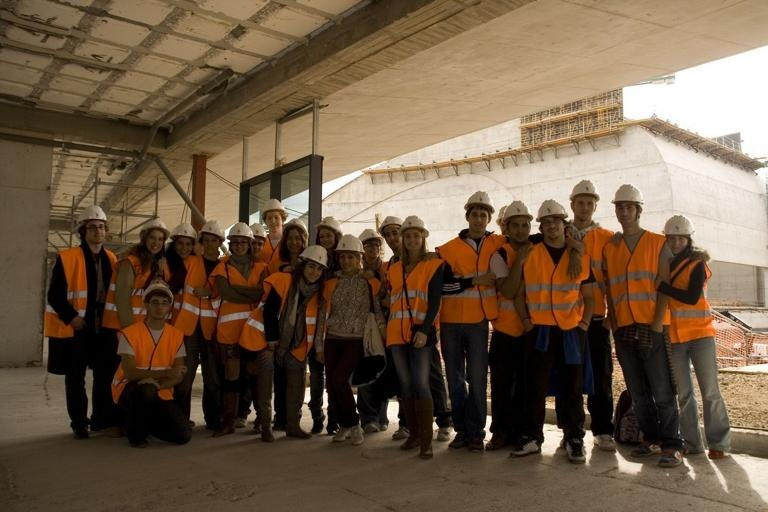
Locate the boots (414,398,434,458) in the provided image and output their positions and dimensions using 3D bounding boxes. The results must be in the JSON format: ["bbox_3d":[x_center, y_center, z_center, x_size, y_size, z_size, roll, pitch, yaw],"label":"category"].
[{"bbox_3d":[0.553,2.375,9.014,0.231,0.760,0.285,0,3,2],"label":"boots"}]

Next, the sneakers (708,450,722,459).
[{"bbox_3d":[4.492,2.691,8.821,0.213,0.055,0.078,0,-4,20],"label":"sneakers"}]

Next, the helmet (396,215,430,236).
[{"bbox_3d":[0.420,-0.431,9.500,0.361,0.285,0.376,2,4,25],"label":"helmet"}]

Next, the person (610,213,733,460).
[{"bbox_3d":[4.302,1.087,9.006,0.913,3.274,0.632,2,4,27],"label":"person"}]

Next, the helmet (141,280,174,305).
[{"bbox_3d":[-3.362,0.528,9.725,0.429,0.339,0.408,-1,3,-19],"label":"helmet"}]

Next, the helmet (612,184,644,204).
[{"bbox_3d":[3.435,-0.876,9.144,0.312,0.207,0.391,1,-12,41],"label":"helmet"}]

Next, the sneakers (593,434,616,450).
[{"bbox_3d":[3.124,2.627,9.221,0.132,0.131,0.346,0,5,-2],"label":"sneakers"}]

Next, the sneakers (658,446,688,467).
[{"bbox_3d":[3.806,2.663,8.624,0.363,0.190,0.261,1,3,8],"label":"sneakers"}]

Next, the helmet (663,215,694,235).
[{"bbox_3d":[4.135,-0.385,9.153,0.320,0.215,0.409,3,-4,38],"label":"helmet"}]

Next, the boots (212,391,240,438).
[{"bbox_3d":[-2.458,2.435,10.043,0.241,0.633,0.468,-4,-14,26],"label":"boots"}]

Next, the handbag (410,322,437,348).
[{"bbox_3d":[0.550,1.128,9.248,0.355,0.256,0.343,6,-4,-41],"label":"handbag"}]

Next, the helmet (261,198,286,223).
[{"bbox_3d":[-1.874,-0.826,11.273,0.442,0.298,0.581,3,-10,-2],"label":"helmet"}]

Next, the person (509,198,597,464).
[{"bbox_3d":[2.382,0.980,9.044,0.952,3.487,0.790,1,3,16],"label":"person"}]

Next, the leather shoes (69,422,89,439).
[{"bbox_3d":[-4.512,2.596,9.684,0.239,0.221,0.241,-10,-15,29],"label":"leather shoes"}]

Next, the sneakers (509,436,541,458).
[{"bbox_3d":[1.969,2.632,8.938,0.487,0.214,0.182,2,-6,-23],"label":"sneakers"}]

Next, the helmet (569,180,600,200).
[{"bbox_3d":[2.924,-0.994,9.584,0.346,0.206,0.407,2,-12,8],"label":"helmet"}]

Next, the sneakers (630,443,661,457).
[{"bbox_3d":[3.586,2.667,8.958,0.434,0.150,0.161,4,-10,-21],"label":"sneakers"}]

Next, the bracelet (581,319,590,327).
[{"bbox_3d":[2.796,0.946,9.048,0.093,0.083,0.115,-3,-7,23],"label":"bracelet"}]

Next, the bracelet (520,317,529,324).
[{"bbox_3d":[1.971,0.897,9.114,0.102,0.076,0.255,4,1,-4],"label":"bracelet"}]
